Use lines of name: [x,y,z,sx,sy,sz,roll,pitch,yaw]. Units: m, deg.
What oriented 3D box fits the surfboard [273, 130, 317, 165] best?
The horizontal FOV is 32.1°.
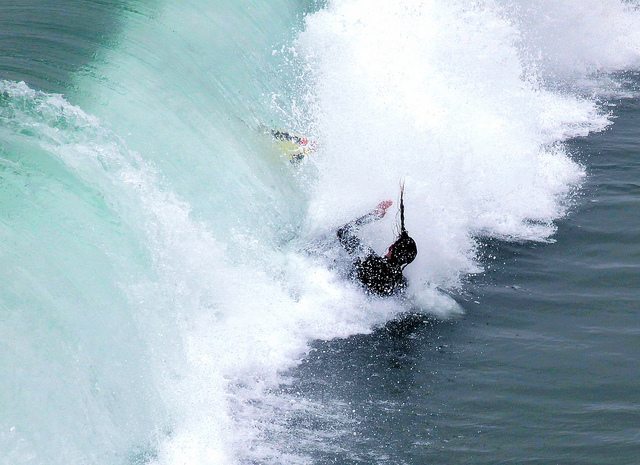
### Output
surfboard: [-0.947,-3.090,41.829,1.915,0.209,1.229,29,62,-13]
